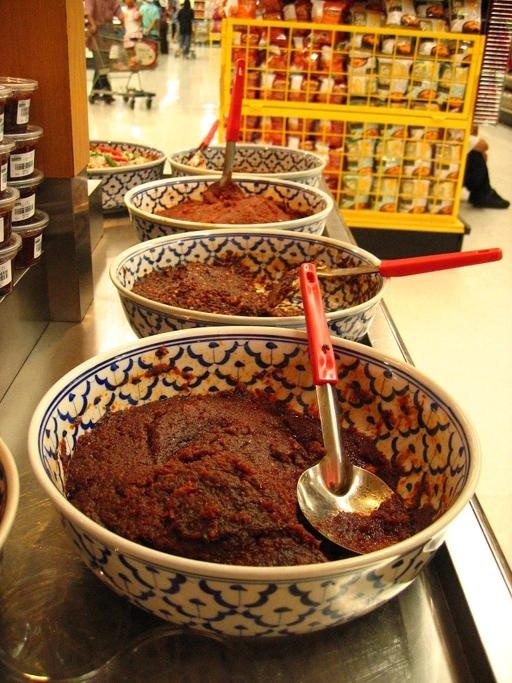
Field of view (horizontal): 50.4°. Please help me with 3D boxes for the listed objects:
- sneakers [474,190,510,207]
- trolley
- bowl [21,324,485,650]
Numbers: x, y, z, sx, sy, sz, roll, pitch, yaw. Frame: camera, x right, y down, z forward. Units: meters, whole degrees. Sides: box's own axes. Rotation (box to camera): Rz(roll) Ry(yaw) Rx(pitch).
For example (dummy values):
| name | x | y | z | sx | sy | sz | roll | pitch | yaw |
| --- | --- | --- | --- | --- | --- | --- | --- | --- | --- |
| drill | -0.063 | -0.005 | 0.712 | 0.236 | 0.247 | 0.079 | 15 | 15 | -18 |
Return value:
| name | x | y | z | sx | sy | sz | roll | pitch | yaw |
| --- | --- | --- | --- | --- | --- | --- | --- | --- | --- |
| sneakers | 1.747 | -1.073 | 4.085 | 0.245 | 0.100 | 0.131 | 1 | 33 | 0 |
| trolley | -1.025 | -2.024 | 3.907 | 0.566 | 0.631 | 0.385 | -9 | 34 | -24 |
| bowl | -0.005 | 0.147 | 0.396 | 0.269 | 0.099 | 0.260 | 13 | 24 | -6 |
